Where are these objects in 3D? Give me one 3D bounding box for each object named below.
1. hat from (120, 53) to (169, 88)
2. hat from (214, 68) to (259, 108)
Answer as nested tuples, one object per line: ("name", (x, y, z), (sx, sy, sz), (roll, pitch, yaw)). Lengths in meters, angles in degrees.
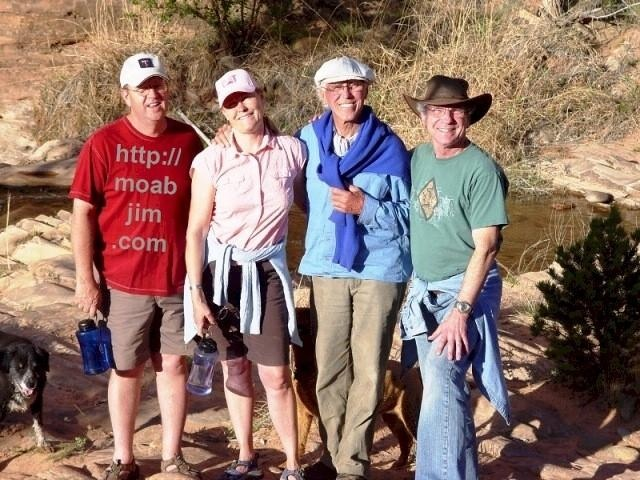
("hat", (-1.336, -1.270, 5.140), (0.232, 0.182, 0.330), (-12, -6, -20))
("hat", (-0.629, -1.128, 5.141), (0.305, 0.283, 0.238), (0, 10, -6))
